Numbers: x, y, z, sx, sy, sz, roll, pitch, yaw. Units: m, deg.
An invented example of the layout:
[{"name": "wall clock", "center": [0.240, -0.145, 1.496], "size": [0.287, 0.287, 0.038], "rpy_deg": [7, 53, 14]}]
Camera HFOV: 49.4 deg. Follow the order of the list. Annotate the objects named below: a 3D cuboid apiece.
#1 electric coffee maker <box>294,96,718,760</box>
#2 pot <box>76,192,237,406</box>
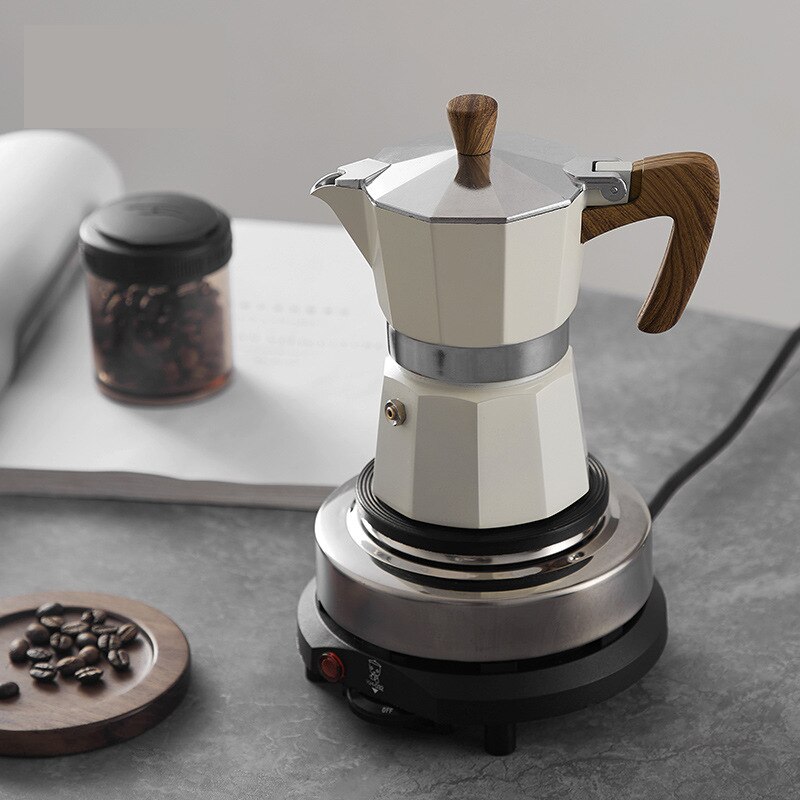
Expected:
[{"name": "electric coffee maker", "center": [0.059, 0.002, 0.440], "size": [0.218, 0.280, 0.181], "rpy_deg": [0, 19, 9]}, {"name": "pot", "center": [-0.208, -0.097, 0.784], "size": [0.126, 0.150, 0.145], "rpy_deg": [-5, 29, -19]}]
